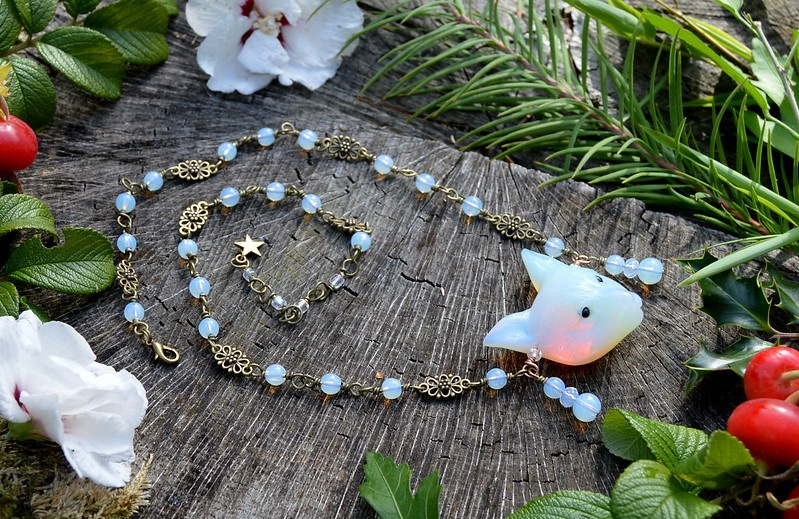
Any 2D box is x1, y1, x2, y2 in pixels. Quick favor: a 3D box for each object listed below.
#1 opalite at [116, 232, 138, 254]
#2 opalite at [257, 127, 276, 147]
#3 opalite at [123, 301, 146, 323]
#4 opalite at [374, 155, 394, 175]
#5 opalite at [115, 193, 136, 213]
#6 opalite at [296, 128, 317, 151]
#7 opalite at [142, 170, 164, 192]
[{"bbox_3d":[-0.942,-0.059,2.624,0.053,0.067,0.053,39,67,-26],"label":"opalite"},{"bbox_3d":[-0.494,-0.458,2.792,0.064,0.052,0.052,0,56,13],"label":"opalite"},{"bbox_3d":[-0.882,0.176,2.492,0.062,0.035,0.064,4,77,-2],"label":"opalite"},{"bbox_3d":[-0.058,-0.349,2.748,0.056,0.057,0.071,-21,19,-23],"label":"opalite"},{"bbox_3d":[-0.972,-0.202,2.655,0.043,0.043,0.052,26,76,18],"label":"opalite"},{"bbox_3d":[-0.339,-0.446,2.825,0.067,0.069,0.078,-29,29,2],"label":"opalite"},{"bbox_3d":[-0.874,-0.290,2.728,0.065,0.074,0.065,-34,99,6],"label":"opalite"}]
